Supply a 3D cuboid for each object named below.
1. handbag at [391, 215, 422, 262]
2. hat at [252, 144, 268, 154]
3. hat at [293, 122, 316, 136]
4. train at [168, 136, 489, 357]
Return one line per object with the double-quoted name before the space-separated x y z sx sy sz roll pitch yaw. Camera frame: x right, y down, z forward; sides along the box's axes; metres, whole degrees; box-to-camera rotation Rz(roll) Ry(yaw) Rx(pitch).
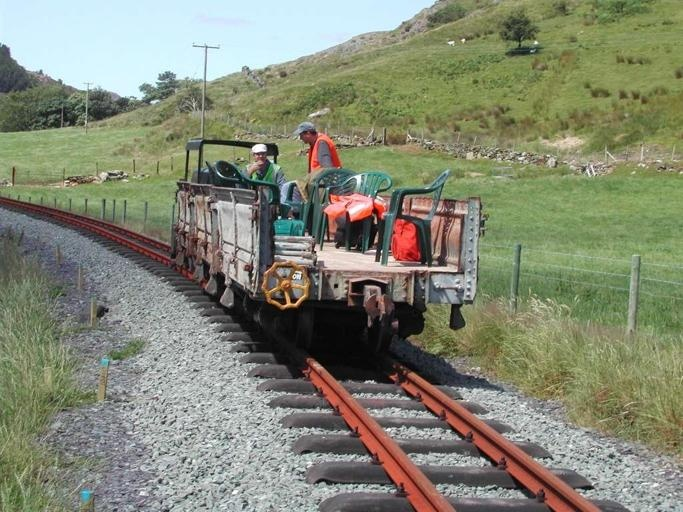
"handbag" 0.996 -0.306 9.548 0.467 0.824 0.858 -1 5 -9
"hat" -1.415 -1.837 11.146 0.235 0.116 0.367 -1 10 -9
"hat" -0.635 -2.163 11.038 0.369 0.239 0.273 0 6 0
"train" -0.598 -0.244 9.949 2.591 2.247 5.135 -2 10 -20
